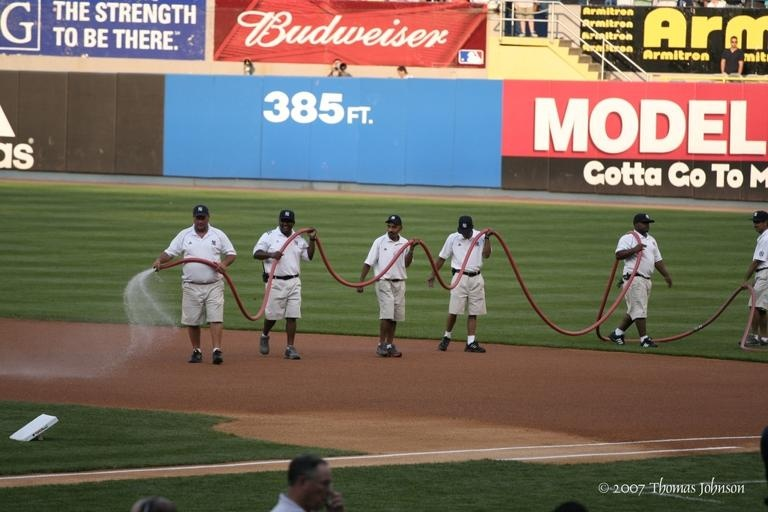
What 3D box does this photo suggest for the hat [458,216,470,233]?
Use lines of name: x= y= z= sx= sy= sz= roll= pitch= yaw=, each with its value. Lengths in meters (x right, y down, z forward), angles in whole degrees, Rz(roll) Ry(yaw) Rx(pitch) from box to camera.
hat: x=2.165 y=-0.880 z=46.577 sx=0.374 sy=0.402 sz=0.524 roll=1 pitch=5 yaw=1

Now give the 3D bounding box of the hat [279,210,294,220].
hat: x=-2.390 y=-1.078 z=45.646 sx=0.324 sy=0.265 sz=0.481 roll=8 pitch=-5 yaw=1

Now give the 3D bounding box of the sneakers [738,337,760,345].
sneakers: x=9.654 y=2.159 z=47.421 sx=0.523 sy=0.222 sz=0.186 roll=4 pitch=-2 yaw=10

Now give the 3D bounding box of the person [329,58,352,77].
person: x=-1.396 y=-6.283 z=59.767 sx=0.725 sy=0.598 sz=1.464 roll=1 pitch=5 yaw=-2

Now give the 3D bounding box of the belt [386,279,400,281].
belt: x=0.327 y=0.548 z=45.825 sx=0.315 sy=0.058 sz=0.020 roll=0 pitch=5 yaw=-13

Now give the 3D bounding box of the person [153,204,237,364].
person: x=-4.524 y=0.652 z=45.134 sx=1.639 sy=3.930 sz=1.045 roll=1 pitch=4 yaw=-5

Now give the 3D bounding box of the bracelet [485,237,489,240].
bracelet: x=2.725 y=-0.522 z=46.472 sx=0.077 sy=0.065 sz=0.074 roll=2 pitch=9 yaw=3

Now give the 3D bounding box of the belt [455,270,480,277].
belt: x=2.180 y=0.372 z=46.408 sx=0.658 sy=0.137 sz=0.269 roll=1 pitch=5 yaw=2

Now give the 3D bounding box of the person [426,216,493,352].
person: x=2.087 y=0.656 z=46.608 sx=1.256 sy=3.470 sz=0.985 roll=0 pitch=5 yaw=-13

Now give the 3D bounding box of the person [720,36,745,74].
person: x=11.664 y=-6.733 z=60.019 sx=0.716 sy=1.279 sz=0.564 roll=2 pitch=4 yaw=9

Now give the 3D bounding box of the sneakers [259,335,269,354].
sneakers: x=-2.982 y=2.161 z=46.010 sx=0.186 sy=0.504 sz=0.213 roll=-3 pitch=2 yaw=-13

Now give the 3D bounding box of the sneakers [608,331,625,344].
sneakers: x=6.193 y=2.103 z=47.513 sx=0.559 sy=0.273 sz=0.195 roll=37 pitch=21 yaw=-39

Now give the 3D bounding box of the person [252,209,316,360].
person: x=-2.506 y=0.662 z=45.701 sx=1.383 sy=3.726 sz=0.654 roll=1 pitch=4 yaw=-3

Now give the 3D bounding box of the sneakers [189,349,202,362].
sneakers: x=-4.669 y=2.452 z=45.241 sx=0.221 sy=0.249 sz=0.385 roll=-1 pitch=-4 yaw=5

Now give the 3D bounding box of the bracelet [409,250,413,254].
bracelet: x=0.748 y=-0.178 z=45.999 sx=0.087 sy=0.083 sz=0.134 roll=17 pitch=9 yaw=2

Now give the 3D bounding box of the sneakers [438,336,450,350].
sneakers: x=1.638 y=2.202 z=46.619 sx=0.181 sy=0.219 sz=0.493 roll=27 pitch=36 yaw=-12

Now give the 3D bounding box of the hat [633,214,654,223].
hat: x=6.808 y=-1.034 z=47.167 sx=0.480 sy=0.237 sz=0.347 roll=-3 pitch=0 yaw=21

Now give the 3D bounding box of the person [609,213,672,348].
person: x=6.770 y=0.561 z=47.242 sx=1.318 sy=3.440 sz=1.026 roll=2 pitch=4 yaw=9

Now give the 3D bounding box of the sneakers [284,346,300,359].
sneakers: x=-2.268 y=2.401 z=45.706 sx=0.219 sy=0.187 sz=0.461 roll=-1 pitch=-1 yaw=-31

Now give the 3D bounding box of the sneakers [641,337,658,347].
sneakers: x=6.957 y=2.174 z=47.142 sx=0.547 sy=0.219 sz=0.186 roll=0 pitch=17 yaw=12

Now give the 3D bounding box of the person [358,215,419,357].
person: x=0.160 y=0.702 z=46.145 sx=1.175 sy=3.534 sz=0.909 roll=1 pitch=4 yaw=-1

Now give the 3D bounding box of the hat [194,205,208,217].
hat: x=-4.490 y=-1.165 z=44.865 sx=0.262 sy=0.191 sz=0.361 roll=0 pitch=4 yaw=-5
